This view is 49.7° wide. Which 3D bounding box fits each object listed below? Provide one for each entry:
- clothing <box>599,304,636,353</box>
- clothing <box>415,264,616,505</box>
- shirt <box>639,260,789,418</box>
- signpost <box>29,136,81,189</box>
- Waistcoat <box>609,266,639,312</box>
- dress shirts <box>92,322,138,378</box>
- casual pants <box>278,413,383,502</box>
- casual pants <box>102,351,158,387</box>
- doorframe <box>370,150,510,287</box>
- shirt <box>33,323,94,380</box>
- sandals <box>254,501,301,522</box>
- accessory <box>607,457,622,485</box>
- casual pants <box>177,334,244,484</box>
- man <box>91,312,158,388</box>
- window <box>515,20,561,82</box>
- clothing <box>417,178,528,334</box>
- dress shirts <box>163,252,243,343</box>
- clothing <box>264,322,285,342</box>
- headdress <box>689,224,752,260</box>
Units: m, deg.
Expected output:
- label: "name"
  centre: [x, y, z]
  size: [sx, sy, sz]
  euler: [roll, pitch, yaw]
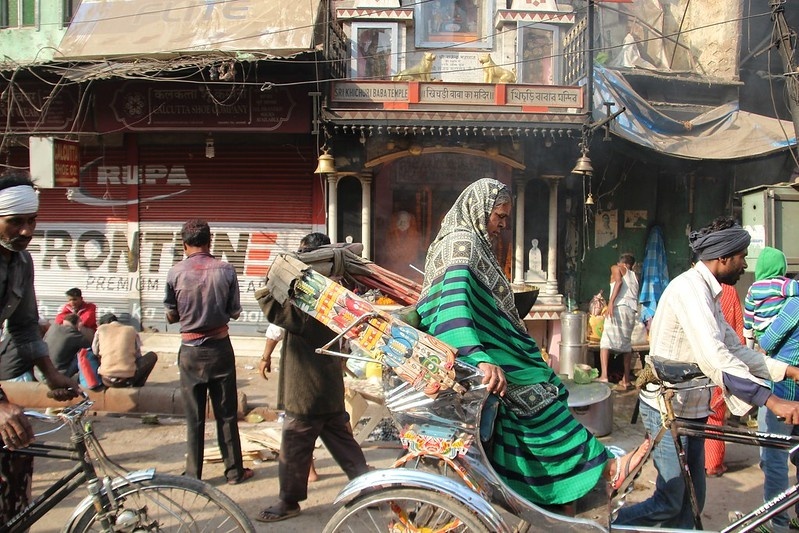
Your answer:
- label: "clothing"
  centre: [3.778, 1.064, 14.884]
  size: [0.624, 0.863, 0.493]
  euler: [14, -8, 3]
- label: "clothing"
  centre: [1.319, 1.392, 10.667]
  size: [2.688, 2.056, 1.004]
  euler: [23, 8, 9]
- label: "shirt"
  centre: [3.803, 0.845, 10.341]
  size: [1.666, 1.886, 1.432]
  euler: [6, 3, 15]
- label: "signpost"
  centre: [-6.318, -1.911, 15.840]
  size: [0.369, 0.937, 1.073]
  euler: [1, 6, 4]
- label: "Waistcoat"
  centre: [3.968, 0.422, 15.383]
  size: [0.577, 1.024, 0.787]
  euler: [-1, -14, 20]
- label: "dress shirts"
  centre: [-4.355, 1.297, 13.123]
  size: [0.739, 0.925, 0.501]
  euler: [1, 15, -4]
- label: "casual pants"
  centre: [-0.906, 2.421, 10.861]
  size: [1.069, 1.063, 0.392]
  euler: [-7, -4, -27]
- label: "casual pants"
  centre: [-4.332, 1.685, 13.490]
  size: [0.987, 0.487, 0.565]
  euler: [-6, 13, 8]
- label: "doorframe"
  centre: [0.831, -1.016, 16.239]
  size: [2.832, 2.814, 0.166]
  euler: [1, -5, 25]
- label: "shirt"
  centre: [-5.253, 1.299, 13.402]
  size: [0.758, 0.904, 0.646]
  euler: [15, -1, 21]
- label: "sandals"
  centre: [-1.521, 3.071, 10.822]
  size: [0.503, 0.219, 0.223]
  euler: [3, -4, -15]
- label: "accessory"
  centre: [2.478, 2.343, 9.862]
  size: [0.127, 0.303, 0.100]
  euler: [12, -6, -25]
- label: "casual pants"
  centre: [-2.504, 1.852, 11.409]
  size: [0.774, 1.901, 0.560]
  euler: [-3, 0, -9]
- label: "man"
  centre: [-4.322, 1.339, 13.444]
  size: [0.987, 1.329, 0.806]
  euler: [-3, 5, -13]
- label: "window"
  centre: [2.832, -4.284, 17.577]
  size: [0.836, 0.111, 1.599]
  euler: [7, -40, 14]
- label: "clothing"
  centre: [0.903, -0.123, 10.418]
  size: [1.164, 1.814, 1.816]
  euler: [7, 10, 12]
- label: "dress shirts"
  centre: [-2.643, 0.496, 11.565]
  size: [1.023, 1.298, 0.745]
  euler: [-3, -5, -13]
- label: "clothing"
  centre: [-1.685, 0.897, 11.702]
  size: [0.326, 0.244, 0.315]
  euler: [2, -1, -42]
- label: "headdress"
  centre: [3.856, -0.289, 10.310]
  size: [0.483, 0.260, 0.435]
  euler: [-18, 3, 7]
